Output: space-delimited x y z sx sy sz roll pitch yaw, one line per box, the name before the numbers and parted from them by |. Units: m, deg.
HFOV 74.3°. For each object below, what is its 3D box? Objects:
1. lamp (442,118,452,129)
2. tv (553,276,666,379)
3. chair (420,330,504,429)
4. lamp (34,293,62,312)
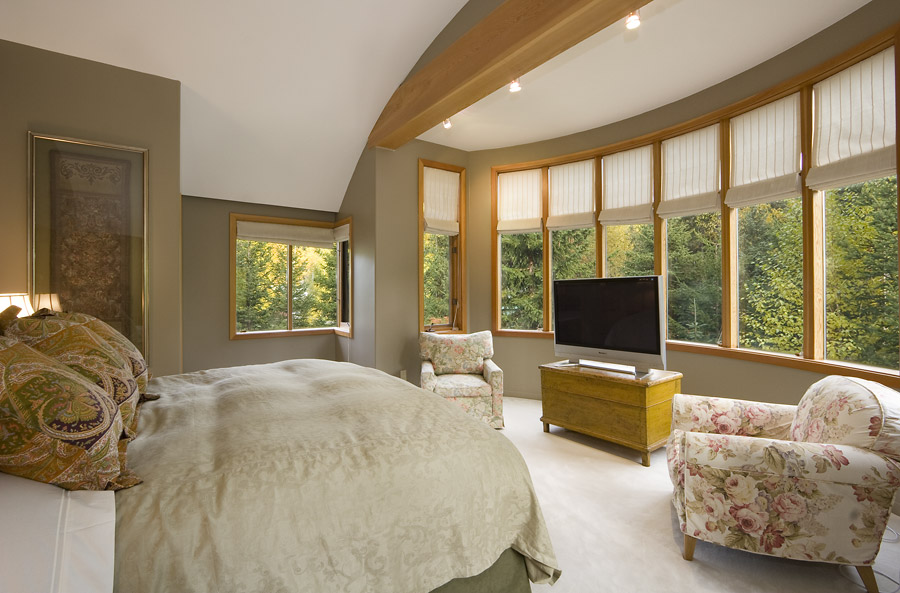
lamp | -0.022 -1.900 6.546 0.036 0.117 0.113 0 0 -39
tv | 1.602 0.317 5.831 0.340 0.747 0.959 7 -8 -42
chair | 0.178 0.900 6.539 1.042 1.080 0.882 1 -10 -4
lamp | -3.346 0.049 4.913 0.150 0.148 0.152 -1 0 -9
